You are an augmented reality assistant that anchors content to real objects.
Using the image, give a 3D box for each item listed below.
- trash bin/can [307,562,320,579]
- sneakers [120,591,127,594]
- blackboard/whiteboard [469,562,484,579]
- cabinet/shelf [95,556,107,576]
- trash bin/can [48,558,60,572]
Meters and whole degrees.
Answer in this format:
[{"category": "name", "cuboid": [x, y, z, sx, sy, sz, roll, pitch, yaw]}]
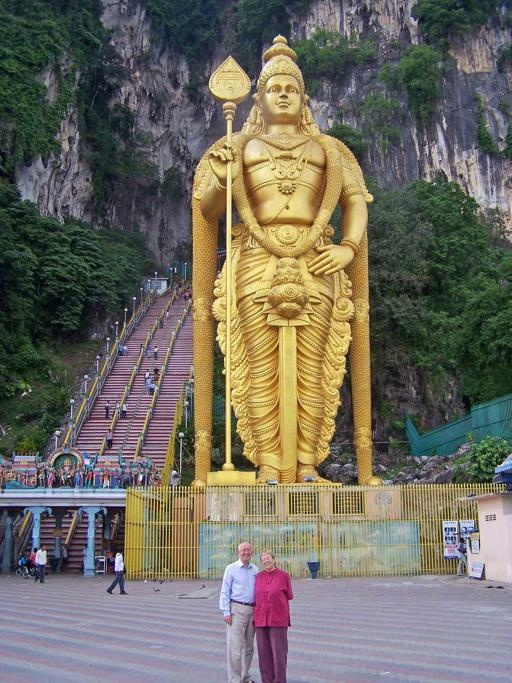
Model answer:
[{"category": "trash bin/can", "cuboid": [0.857, 3.327, 10.872, 0.212, 0.246, 0.221, -3, -6, 7]}, {"category": "sneakers", "cuboid": [-1.577, 2.997, 8.895, 0.112, 0.047, 0.036, -9, -15, 33]}, {"category": "blackboard/whiteboard", "cuboid": [2.988, 3.086, 10.032, 0.080, 0.189, 0.273, 9, -14, -13]}, {"category": "cabinet/shelf", "cuboid": [-2.716, 3.927, 13.046, 0.269, 0.371, 0.264, -1, -21, -2]}, {"category": "trash bin/can", "cuboid": [-3.699, 4.098, 13.692, 0.183, 0.234, 0.286, 1, -11, -15]}]
